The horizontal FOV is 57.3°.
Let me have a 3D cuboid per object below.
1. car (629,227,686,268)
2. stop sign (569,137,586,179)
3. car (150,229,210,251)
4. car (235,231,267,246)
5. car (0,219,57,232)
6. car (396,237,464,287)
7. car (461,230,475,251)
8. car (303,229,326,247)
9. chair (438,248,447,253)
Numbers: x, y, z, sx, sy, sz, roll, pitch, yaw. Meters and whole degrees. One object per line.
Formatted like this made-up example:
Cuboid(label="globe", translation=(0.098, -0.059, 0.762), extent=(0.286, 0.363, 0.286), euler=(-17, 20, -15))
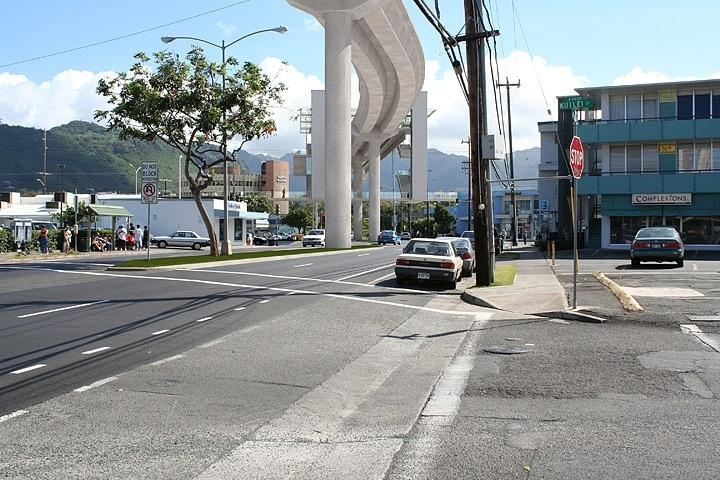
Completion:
Cuboid(label="car", translation=(13.276, 0.359, 29.456), extent=(2.041, 1.674, 1.473), euler=(-2, 3, 21))
Cuboid(label="stop sign", translation=(5.472, -2.081, 16.608), extent=(0.275, 1.074, 0.988), euler=(-2, 3, 16))
Cuboid(label="car", translation=(-16.008, 0.029, 58.936), extent=(4.008, 1.319, 1.775), euler=(3, 1, 15))
Cuboid(label="car", translation=(-12.418, -0.188, 77.136), extent=(2.404, 1.320, 1.579), euler=(-4, 5, -10))
Cuboid(label="car", translation=(-24.844, -1.125, 49.315), extent=(2.453, 1.349, 1.471), euler=(-2, 1, -8))
Cuboid(label="car", translation=(2.530, 0.737, 23.286), extent=(1.318, 0.990, 2.322), euler=(1, 7, 12))
Cuboid(label="car", translation=(7.912, -0.068, 47.224), extent=(1.245, 1.275, 2.798), euler=(-2, -7, 12))
Cuboid(label="car", translation=(-4.458, -0.198, 67.403), extent=(1.496, 1.253, 3.679), euler=(-2, -4, 8))
Cuboid(label="chair", translation=(2.889, 0.374, 22.830), extent=(0.157, 0.165, 0.153), euler=(5, -11, 27))
